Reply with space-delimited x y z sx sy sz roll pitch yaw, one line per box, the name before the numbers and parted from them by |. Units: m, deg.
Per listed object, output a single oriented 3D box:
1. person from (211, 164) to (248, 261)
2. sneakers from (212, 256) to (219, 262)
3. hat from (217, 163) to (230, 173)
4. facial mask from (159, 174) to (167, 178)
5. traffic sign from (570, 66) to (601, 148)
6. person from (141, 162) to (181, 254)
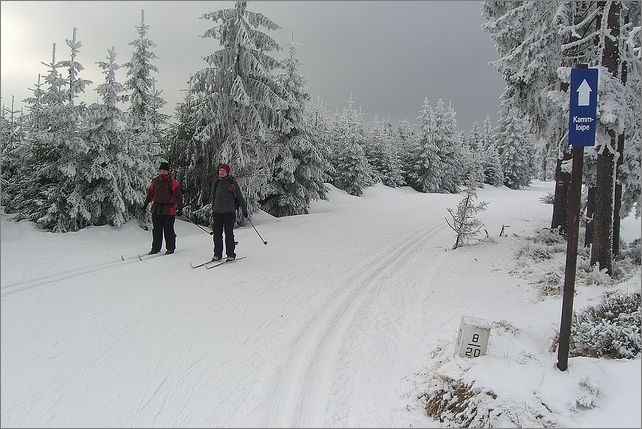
person | -2.686 -0.047 12.480 0.981 2.734 0.738 -4 5 -15
sneakers | -2.960 1.277 12.325 0.174 0.063 0.111 -14 3 32
hat | -2.709 -1.276 12.361 0.218 0.255 0.363 -3 5 -3
facial mask | -4.522 -1.099 12.558 0.190 0.112 0.053 -4 6 -17
traffic sign | 4.848 -1.962 8.058 0.526 1.444 0.337 -1 5 17
person | -4.603 -0.155 12.710 0.981 2.667 0.972 -5 6 -27
